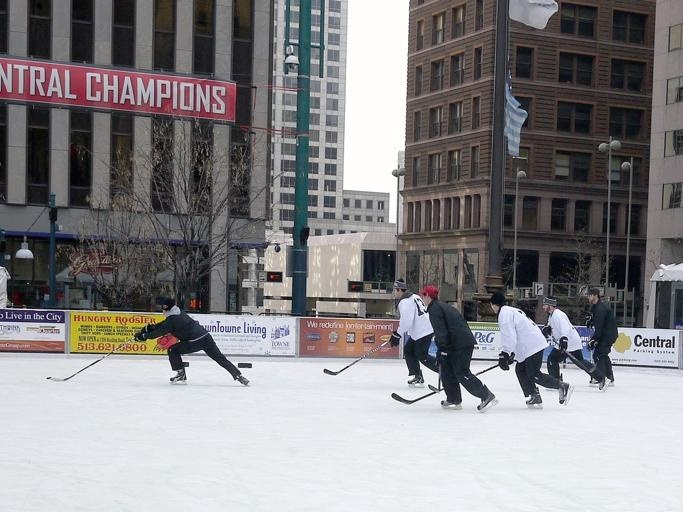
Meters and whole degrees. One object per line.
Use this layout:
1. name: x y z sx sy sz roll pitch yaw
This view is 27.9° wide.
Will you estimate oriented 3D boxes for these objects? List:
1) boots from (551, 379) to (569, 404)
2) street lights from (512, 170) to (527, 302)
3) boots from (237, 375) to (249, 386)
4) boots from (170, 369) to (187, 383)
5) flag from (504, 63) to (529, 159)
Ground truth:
1. boots: 5.799 3.640 35.937 0.310 0.761 0.246 7 5 1
2. street lights: 10.255 -1.008 79.304 0.843 7.740 0.756 0 1 24
3. boots: -2.626 3.493 37.958 0.194 0.169 0.505 23 -15 38
4. boots: -4.474 3.402 38.377 0.501 0.507 0.270 7 -5 -2
5. flag: 5.450 -4.270 43.860 0.761 4.843 0.544 -1 2 -17
